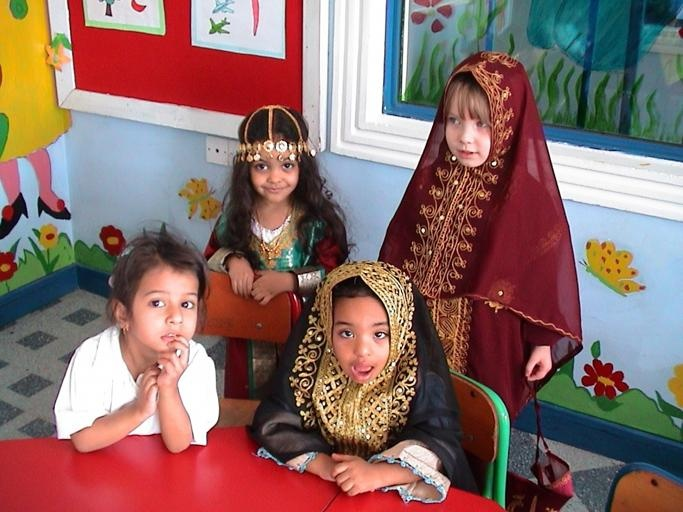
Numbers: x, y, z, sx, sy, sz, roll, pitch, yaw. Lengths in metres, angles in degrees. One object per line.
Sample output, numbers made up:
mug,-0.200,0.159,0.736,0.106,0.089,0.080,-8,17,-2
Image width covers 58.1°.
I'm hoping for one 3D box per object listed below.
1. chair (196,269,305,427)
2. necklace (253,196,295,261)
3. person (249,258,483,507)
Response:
chair,-0.269,0.263,1.848,0.261,0.466,0.304,4,40,-1
necklace,-0.249,-0.043,2.166,0.161,0.220,0.031,-9,-24,21
person,0.067,0.329,1.627,0.563,0.833,0.538,4,25,12
